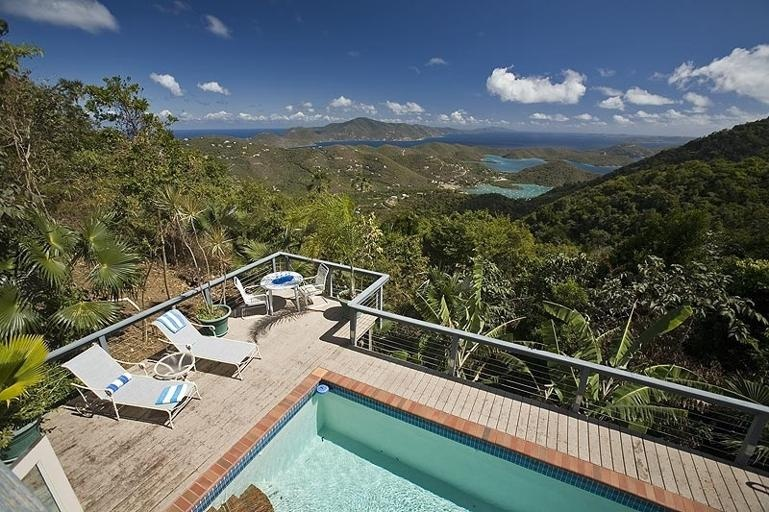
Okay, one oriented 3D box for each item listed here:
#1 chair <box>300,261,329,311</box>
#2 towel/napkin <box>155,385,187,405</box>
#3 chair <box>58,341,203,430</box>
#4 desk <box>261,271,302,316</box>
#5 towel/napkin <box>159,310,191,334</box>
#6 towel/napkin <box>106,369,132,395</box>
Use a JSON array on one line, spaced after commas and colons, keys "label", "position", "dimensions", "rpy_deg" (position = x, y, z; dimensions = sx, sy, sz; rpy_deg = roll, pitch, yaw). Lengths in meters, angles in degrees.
[{"label": "chair", "position": [-2.192, 0.963, 12.168], "dimensions": [0.945, 1.381, 0.849], "rpy_deg": [-6, 36, -32]}, {"label": "towel/napkin", "position": [-4.788, 3.081, 8.803], "dimensions": [0.531, 0.249, 0.525], "rpy_deg": [8, 21, 9]}, {"label": "chair", "position": [-5.817, 2.943, 9.377], "dimensions": [3.288, 1.420, 1.494], "rpy_deg": [10, 20, 7]}, {"label": "desk", "position": [-3.072, 1.047, 11.735], "dimensions": [1.144, 1.060, 1.348], "rpy_deg": [0, 21, -11]}, {"label": "towel/napkin", "position": [-5.267, 1.615, 9.778], "dimensions": [0.544, 0.164, 0.517], "rpy_deg": [45, 31, -9]}, {"label": "towel/napkin", "position": [-6.068, 2.871, 8.911], "dimensions": [0.313, 0.134, 0.496], "rpy_deg": [37, 41, 10]}]
